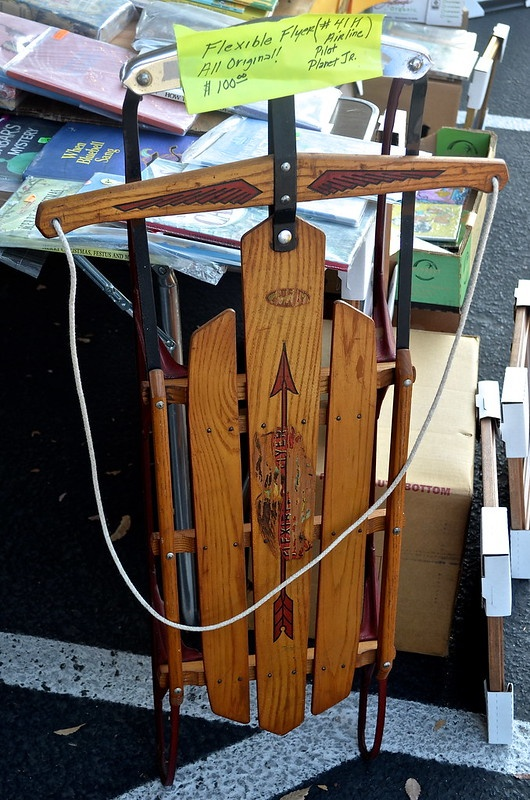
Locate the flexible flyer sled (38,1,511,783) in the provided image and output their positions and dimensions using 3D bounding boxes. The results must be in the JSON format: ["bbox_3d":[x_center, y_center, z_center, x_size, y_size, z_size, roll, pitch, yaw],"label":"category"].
[{"bbox_3d":[-0.001,0.103,1.308,0.732,1.357,0.371,-4,19,-11],"label":"flexible flyer sled"}]

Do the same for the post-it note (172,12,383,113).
[{"bbox_3d":[0.020,-0.438,0.922,0.270,0.098,0.042,-11,38,-12],"label":"post-it note"}]
